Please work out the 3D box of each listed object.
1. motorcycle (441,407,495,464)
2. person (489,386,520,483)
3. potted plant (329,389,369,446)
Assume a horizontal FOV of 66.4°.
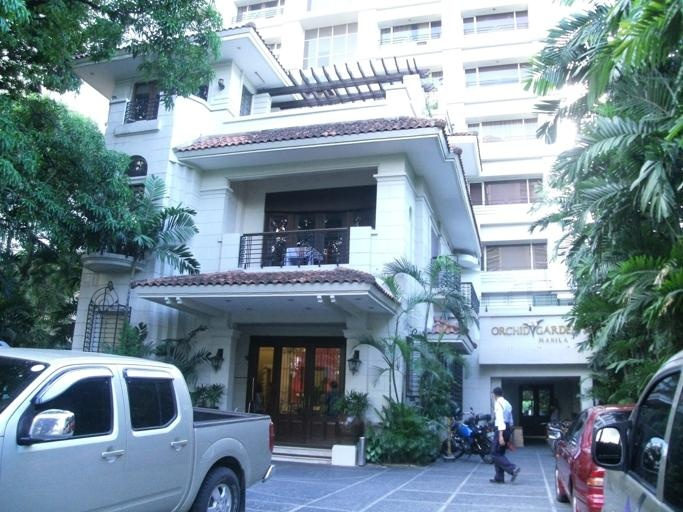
[{"bbox_3d":[3.902,5.539,16.197,1.458,1.457,2.141,-3,-13,15],"label":"motorcycle"},{"bbox_3d":[3.699,4.147,12.057,0.619,2.109,1.154,-3,-12,16],"label":"person"},{"bbox_3d":[0.295,4.377,14.124,0.917,1.360,0.700,4,-13,-19],"label":"potted plant"}]
